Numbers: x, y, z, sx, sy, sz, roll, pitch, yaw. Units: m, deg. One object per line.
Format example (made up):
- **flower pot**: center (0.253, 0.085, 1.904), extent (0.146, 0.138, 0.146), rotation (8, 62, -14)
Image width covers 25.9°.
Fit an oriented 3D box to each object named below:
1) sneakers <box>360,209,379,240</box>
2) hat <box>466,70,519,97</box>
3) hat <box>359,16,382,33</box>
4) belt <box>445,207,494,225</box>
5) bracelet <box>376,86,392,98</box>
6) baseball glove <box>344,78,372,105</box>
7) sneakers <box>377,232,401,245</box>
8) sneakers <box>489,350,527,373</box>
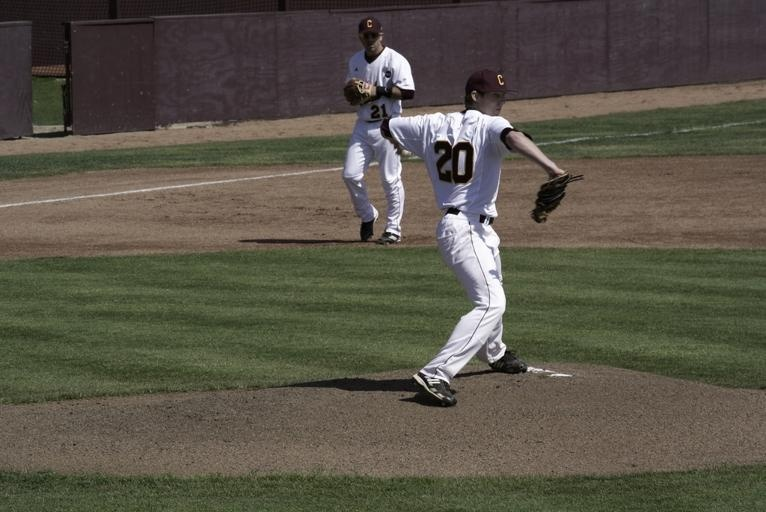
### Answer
- **sneakers**: center (-0.229, -0.456, 27.227), extent (0.195, 0.551, 0.254), rotation (11, 8, 16)
- **hat**: center (1.536, -2.313, 23.120), extent (0.701, 0.364, 0.479), rotation (0, 13, 6)
- **hat**: center (-0.208, -3.672, 26.703), extent (0.327, 0.257, 0.322), rotation (0, 7, -5)
- **belt**: center (1.203, -0.544, 22.981), extent (0.423, 0.103, 0.314), rotation (17, 4, -4)
- **bracelet**: center (0.025, -2.578, 26.347), extent (0.225, 0.213, 0.213), rotation (-1, -7, -26)
- **baseball glove**: center (-0.391, -2.435, 24.970), extent (0.348, 0.222, 0.425), rotation (-10, 20, -25)
- **sneakers**: center (0.113, -0.265, 27.040), extent (0.313, 0.140, 0.179), rotation (3, 4, -11)
- **sneakers**: center (1.764, 1.497, 23.318), extent (0.520, 0.232, 0.264), rotation (-1, 11, 7)
